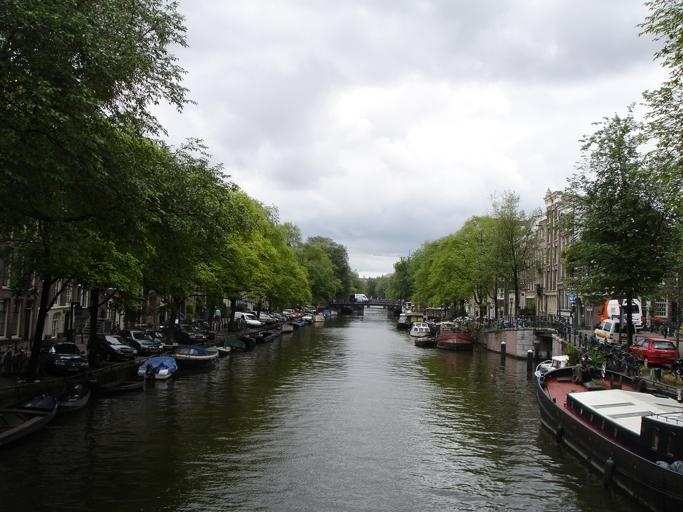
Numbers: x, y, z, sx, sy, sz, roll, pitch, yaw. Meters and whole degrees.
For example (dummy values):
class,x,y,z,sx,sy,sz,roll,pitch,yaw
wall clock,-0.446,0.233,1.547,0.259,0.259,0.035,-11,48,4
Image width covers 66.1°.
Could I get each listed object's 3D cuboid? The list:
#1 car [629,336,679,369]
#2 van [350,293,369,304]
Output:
class,x,y,z,sx,sy,sz,roll,pitch,yaw
car,19.160,5.986,32.929,2.049,1.494,3.987,0,0,7
van,5.830,13.931,171.292,4.591,2.013,2.789,-1,0,0
